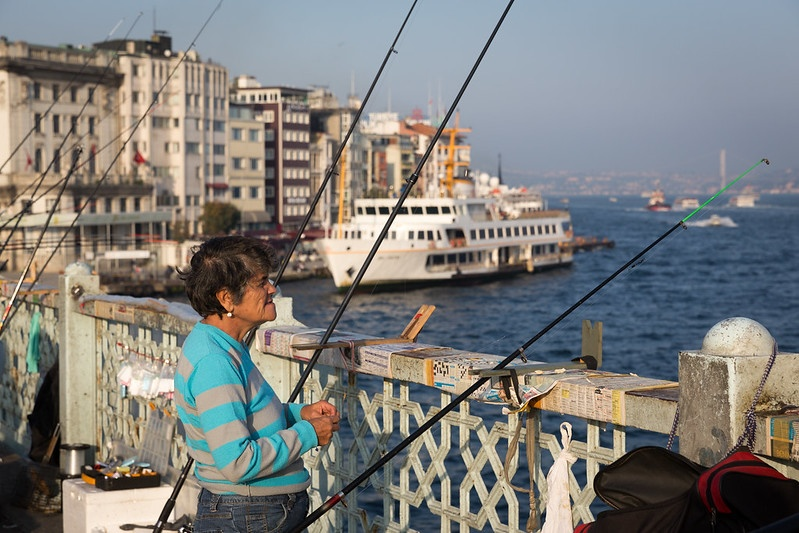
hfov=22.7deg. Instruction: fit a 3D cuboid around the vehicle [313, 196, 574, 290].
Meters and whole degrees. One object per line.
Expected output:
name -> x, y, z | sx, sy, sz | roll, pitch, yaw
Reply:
vehicle -> 2.745, -1.591, 110.501 | 5.092, 5.026, 19.726 | -1, -2, 41
